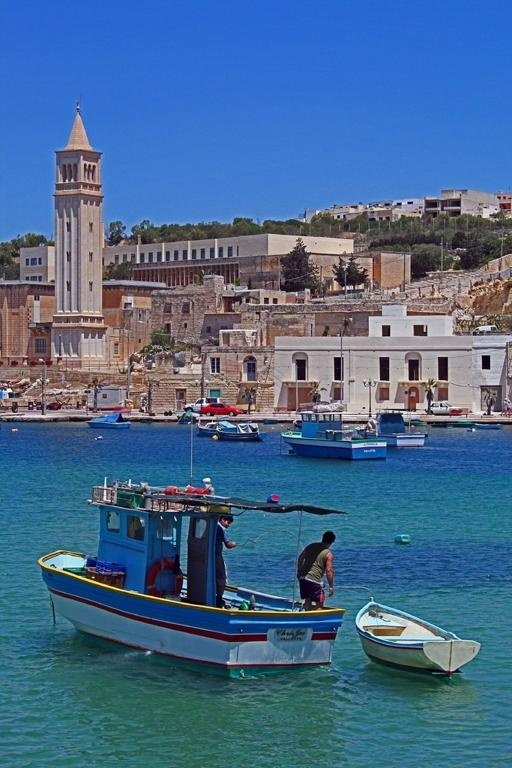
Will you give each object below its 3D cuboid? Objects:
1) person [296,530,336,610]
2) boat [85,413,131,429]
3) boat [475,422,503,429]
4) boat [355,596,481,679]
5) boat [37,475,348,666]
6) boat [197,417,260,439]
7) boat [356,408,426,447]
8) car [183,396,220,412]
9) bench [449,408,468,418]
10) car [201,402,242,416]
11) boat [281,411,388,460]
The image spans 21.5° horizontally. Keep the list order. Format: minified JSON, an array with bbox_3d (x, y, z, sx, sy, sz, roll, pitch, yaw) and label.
[{"bbox_3d":[0.918,2.913,21.071,0.565,1.195,0.588,0,0,1],"label":"person"},{"bbox_3d":[-8.612,2.181,79.823,2.765,0.842,1.451,-1,0,43],"label":"boat"},{"bbox_3d":[13.115,2.384,76.319,1.242,0.347,2.232,0,0,-14],"label":"boat"},{"bbox_3d":[2.373,4.111,21.748,0.857,0.681,2.101,1,6,-20],"label":"boat"},{"bbox_3d":[-1.163,3.073,22.788,2.216,3.134,6.026,0,0,-40],"label":"boat"},{"bbox_3d":[-1.534,2.634,72.676,1.267,1.156,3.947,1,3,-43],"label":"boat"},{"bbox_3d":[6.831,2.274,66.858,1.580,1.470,3.594,1,-3,-21],"label":"boat"},{"bbox_3d":[-3.513,1.364,84.405,1.656,0.977,1.075,3,3,8],"label":"car"},{"bbox_3d":[12.147,1.648,81.410,0.931,0.529,2.184,0,0,33],"label":"bench"},{"bbox_3d":[-2.256,1.633,83.034,1.724,0.700,0.996,-2,2,-2],"label":"car"},{"bbox_3d":[3.273,2.358,59.968,2.044,1.935,4.552,0,-3,-36],"label":"boat"}]
